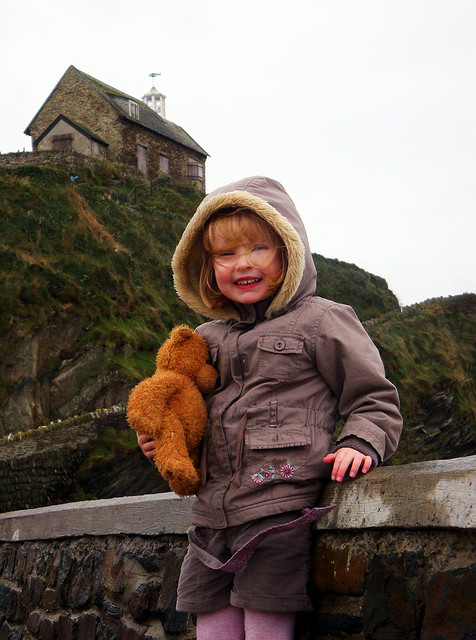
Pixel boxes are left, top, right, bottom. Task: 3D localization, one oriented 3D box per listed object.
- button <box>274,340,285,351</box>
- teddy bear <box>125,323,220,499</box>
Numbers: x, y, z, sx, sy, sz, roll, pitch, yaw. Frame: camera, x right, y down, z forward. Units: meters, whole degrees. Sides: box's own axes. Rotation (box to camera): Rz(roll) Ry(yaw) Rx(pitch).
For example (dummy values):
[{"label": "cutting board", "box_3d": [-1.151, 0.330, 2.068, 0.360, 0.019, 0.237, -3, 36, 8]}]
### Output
[{"label": "button", "box_3d": [0.126, 0.080, 2.453, 0.035, 0.027, 0.010, 2, -9, 8]}, {"label": "teddy bear", "box_3d": [-0.222, 0.283, 2.628, 0.287, 0.589, 0.312, -1, -17, 12]}]
